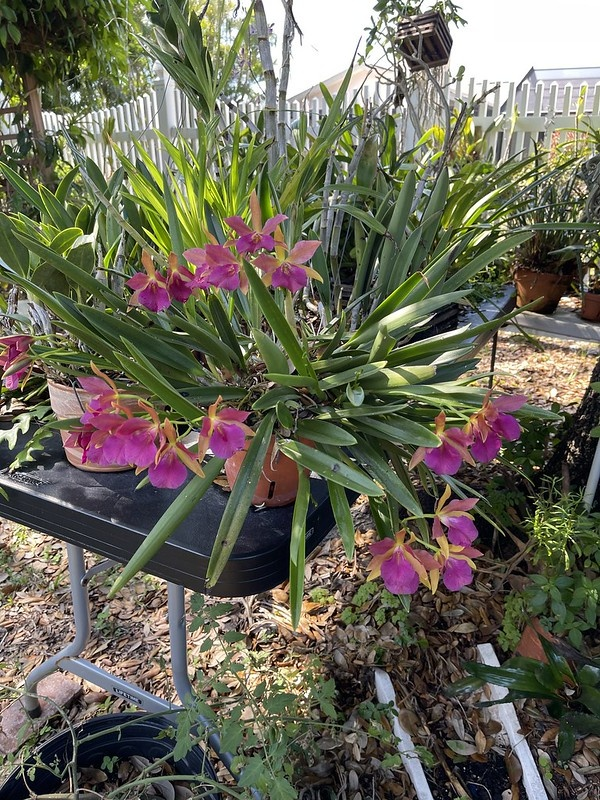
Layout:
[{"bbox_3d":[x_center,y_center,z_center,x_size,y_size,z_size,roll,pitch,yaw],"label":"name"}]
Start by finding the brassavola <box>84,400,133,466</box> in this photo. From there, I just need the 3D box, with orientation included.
[{"bbox_3d":[-0.202,0.033,0.581,0.058,0.054,0.059,-16,12,-4],"label":"brassavola"}]

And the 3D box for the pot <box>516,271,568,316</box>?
[{"bbox_3d":[1.414,-0.646,3.271,0.325,0.253,0.237,-3,20,-23],"label":"pot"}]

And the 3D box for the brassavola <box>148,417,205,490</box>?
[{"bbox_3d":[-0.127,0.060,0.578,0.061,0.033,0.068,-23,70,-21],"label":"brassavola"}]

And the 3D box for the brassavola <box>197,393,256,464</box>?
[{"bbox_3d":[-0.078,0.035,0.554,0.053,0.060,0.025,29,-16,-26],"label":"brassavola"}]

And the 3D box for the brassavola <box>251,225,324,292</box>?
[{"bbox_3d":[-0.008,-0.153,0.618,0.076,0.075,0.030,-18,18,-8],"label":"brassavola"}]

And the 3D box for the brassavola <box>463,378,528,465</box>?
[{"bbox_3d":[0.209,0.027,0.651,0.081,0.078,0.042,-41,27,-23],"label":"brassavola"}]

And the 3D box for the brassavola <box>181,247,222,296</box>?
[{"bbox_3d":[-0.109,-0.151,0.656,0.049,0.052,0.023,41,42,7],"label":"brassavola"}]

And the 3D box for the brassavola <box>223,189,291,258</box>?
[{"bbox_3d":[-0.046,-0.186,0.603,0.074,0.049,0.076,7,44,-7],"label":"brassavola"}]

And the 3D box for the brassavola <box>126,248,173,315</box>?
[{"bbox_3d":[-0.192,-0.146,0.684,0.048,0.081,0.049,-10,24,-38],"label":"brassavola"}]

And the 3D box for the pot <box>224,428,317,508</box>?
[{"bbox_3d":[-0.048,0.085,0.837,0.117,0.118,0.112,9,41,-8],"label":"pot"}]

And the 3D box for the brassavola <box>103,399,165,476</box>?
[{"bbox_3d":[-0.156,0.048,0.549,0.071,0.058,0.030,17,5,20],"label":"brassavola"}]

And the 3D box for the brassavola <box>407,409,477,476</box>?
[{"bbox_3d":[0.149,0.048,0.611,0.071,0.067,0.024,-17,-10,13],"label":"brassavola"}]
